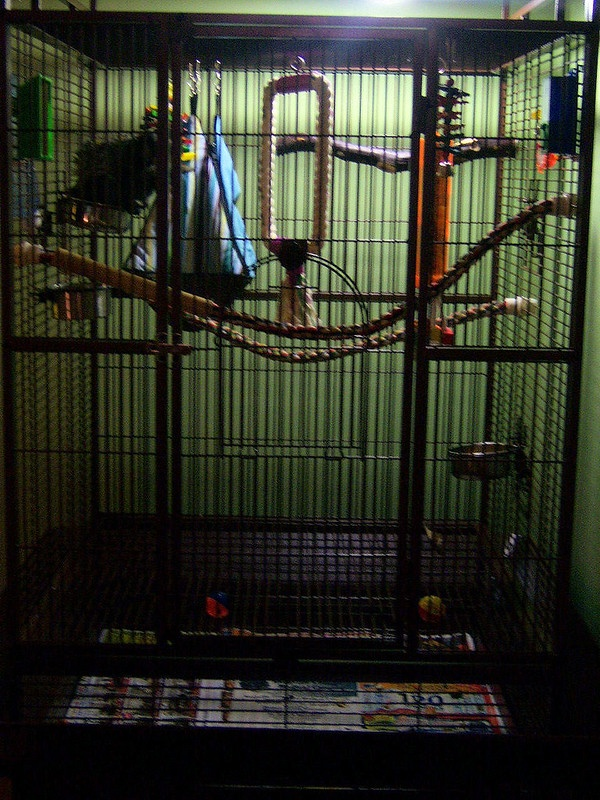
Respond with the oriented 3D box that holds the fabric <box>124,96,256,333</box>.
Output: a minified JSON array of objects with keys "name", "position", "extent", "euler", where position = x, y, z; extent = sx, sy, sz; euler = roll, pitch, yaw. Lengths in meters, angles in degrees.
[{"name":"fabric","position":[-0.226,-0.437,1.754],"extent":[0.288,0.056,0.466],"euler":[1,-41,-11]}]
